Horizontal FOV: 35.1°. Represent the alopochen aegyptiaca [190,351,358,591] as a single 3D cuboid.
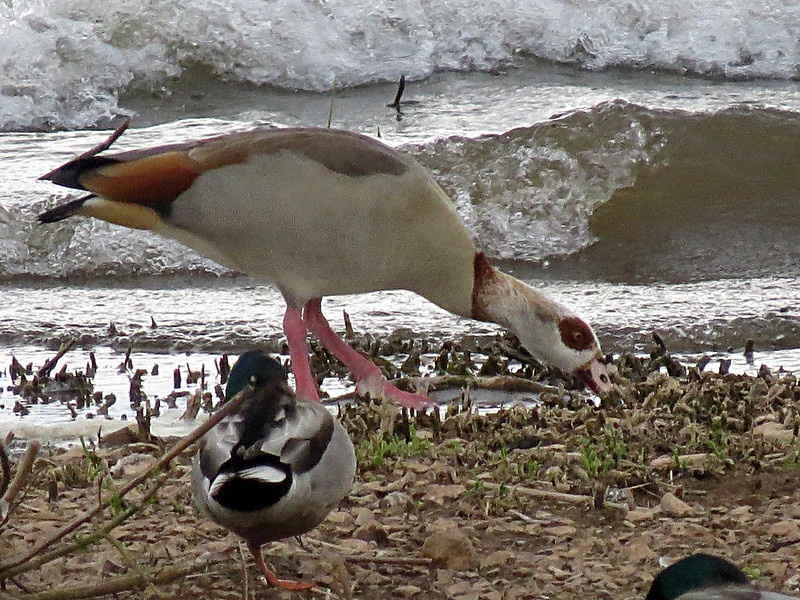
[{"bbox_3d":[-0.527,0.721,5.397,0.582,0.610,0.990,-3,15,3],"label":"alopochen aegyptiaca"}]
